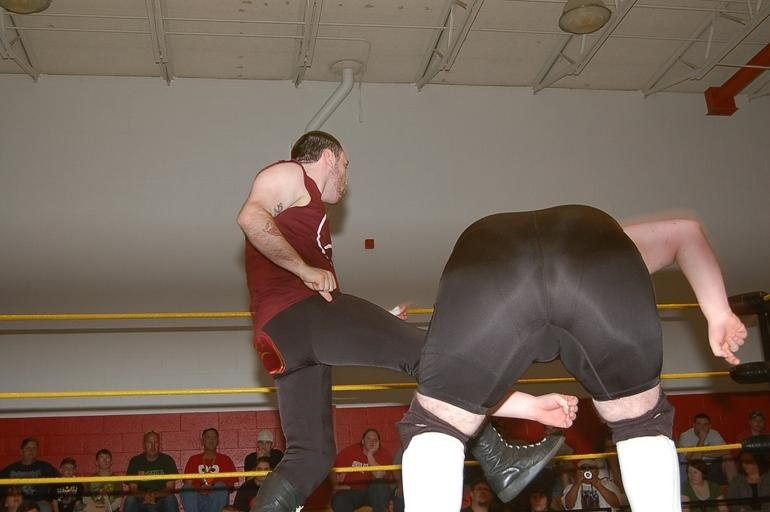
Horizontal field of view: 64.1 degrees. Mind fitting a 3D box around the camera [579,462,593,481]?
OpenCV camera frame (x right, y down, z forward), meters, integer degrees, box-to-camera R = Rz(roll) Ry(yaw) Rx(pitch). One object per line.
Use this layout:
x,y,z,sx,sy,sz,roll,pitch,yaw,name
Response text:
1.882,2.013,5.741,0.122,0.106,0.034,-9,-27,-10,camera
